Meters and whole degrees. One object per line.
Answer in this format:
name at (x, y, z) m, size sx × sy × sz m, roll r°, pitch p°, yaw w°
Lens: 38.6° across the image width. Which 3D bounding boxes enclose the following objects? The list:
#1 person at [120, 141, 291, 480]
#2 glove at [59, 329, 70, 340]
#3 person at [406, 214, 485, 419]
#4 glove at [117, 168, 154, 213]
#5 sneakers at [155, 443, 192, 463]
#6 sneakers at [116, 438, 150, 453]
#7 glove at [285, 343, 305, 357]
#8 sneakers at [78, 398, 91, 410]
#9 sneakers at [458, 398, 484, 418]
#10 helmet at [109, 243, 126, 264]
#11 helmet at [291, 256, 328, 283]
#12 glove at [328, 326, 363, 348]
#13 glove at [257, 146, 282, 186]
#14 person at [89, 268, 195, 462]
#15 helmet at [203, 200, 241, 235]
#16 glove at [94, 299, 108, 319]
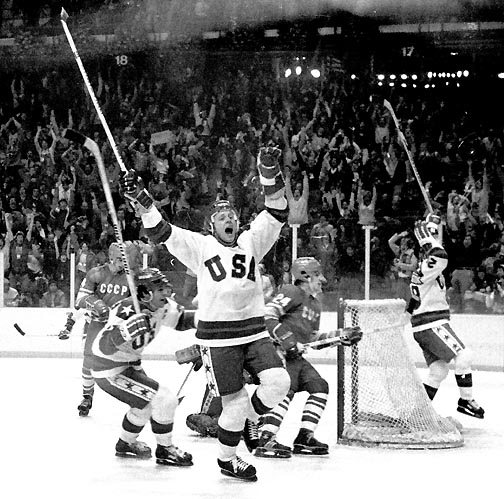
person at (-0.178, 0.347, 3.850) m, size 0.824 × 1.797 × 0.466 m, roll -6°, pitch -1°, yaw -17°
glove at (-1.968, 0.886, 7.529) m, size 0.154 × 0.097 × 0.221 m, roll 0°, pitch -2°, yaw -6°
person at (1.501, 0.572, 5.595) m, size 0.577 × 1.535 × 0.597 m, roll 2°, pitch 5°, yaw 16°
glove at (-0.606, -0.290, 3.646) m, size 0.086 × 0.201 × 0.151 m, roll -16°, pitch 27°, yaw 42°
sneakers at (-0.451, 1.171, 4.135) m, size 0.185 × 0.097 × 0.098 m, roll 1°, pitch 0°, yaw 8°
sneakers at (-0.726, 1.182, 4.338) m, size 0.162 × 0.085 × 0.098 m, roll 0°, pitch 6°, yaw -7°
glove at (0.261, 0.610, 4.383) m, size 0.073 × 0.045 × 0.114 m, roll -25°, pitch 1°, yaw -12°
sneakers at (-1.393, 1.278, 5.968) m, size 0.111 × 0.080 × 0.167 m, roll 3°, pitch -11°, yaw -23°
sneakers at (1.692, 1.233, 5.665) m, size 0.245 × 0.140 × 0.103 m, roll 9°, pitch 9°, yaw 33°
helmet at (-0.956, 0.019, 5.076) m, size 0.119 × 0.202 × 0.100 m, roll -2°, pitch 6°, yaw -4°
helmet at (0.364, 0.112, 4.811) m, size 0.171 × 0.186 × 0.143 m, roll -13°, pitch 6°, yaw 0°
glove at (0.596, 0.535, 4.478) m, size 0.119 × 0.060 × 0.134 m, roll 4°, pitch -28°, yaw 9°
glove at (0.088, -0.477, 3.847) m, size 0.109 × 0.214 × 0.202 m, roll 2°, pitch -29°, yaw 3°
person at (-0.617, 0.681, 4.233) m, size 0.661 × 1.203 × 0.568 m, roll -6°, pitch 9°, yaw -42°
helmet at (-0.176, -0.221, 4.023) m, size 0.157 × 0.263 × 0.213 m, roll 3°, pitch 0°, yaw -4°
glove at (-1.210, 0.474, 5.738) m, size 0.085 × 0.160 × 0.058 m, roll -18°, pitch -13°, yaw -4°
